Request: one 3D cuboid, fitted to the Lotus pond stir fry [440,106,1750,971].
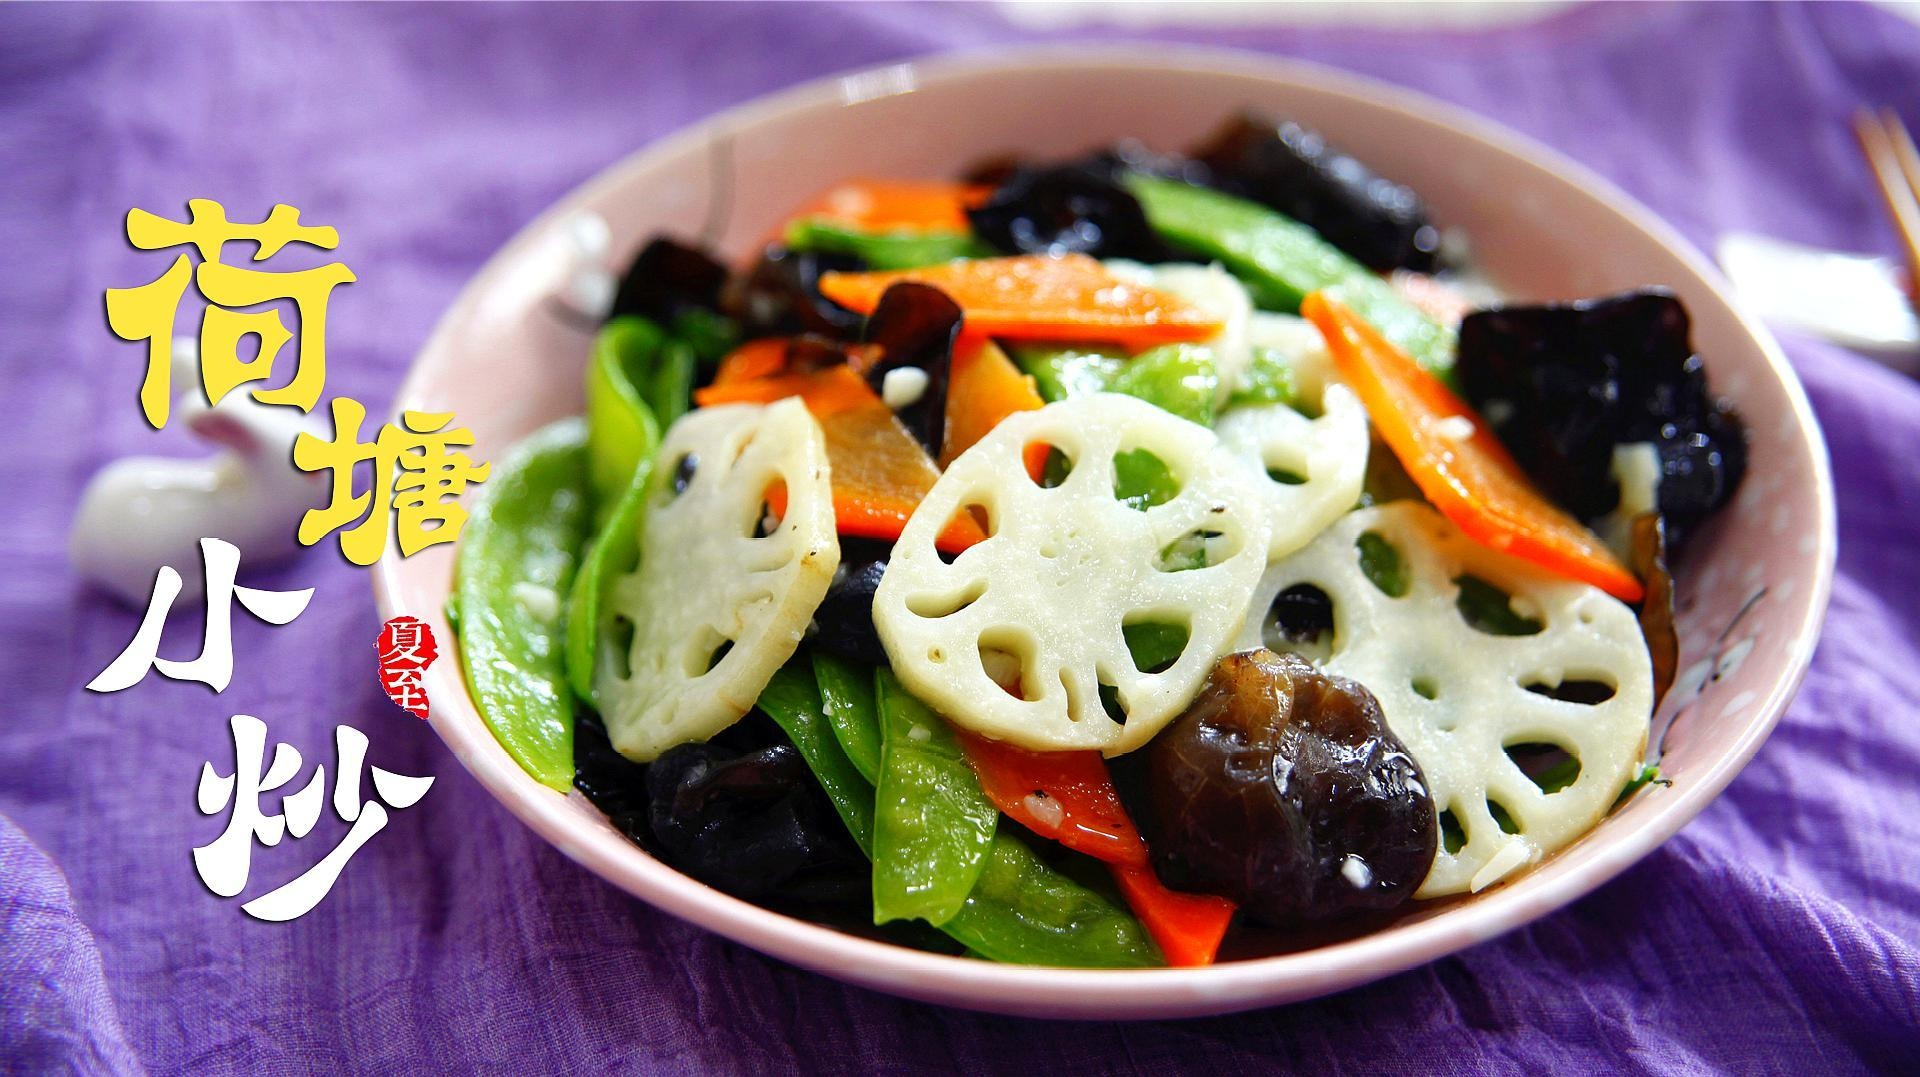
[{"bbox_3d":[0.317,0.149,3.173,1.760,0.650,1.637,-5,44,-9],"label":"Lotus pond stir fry"}]

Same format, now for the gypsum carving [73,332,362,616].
[{"bbox_3d":[-1.501,-0.144,3.622,0.619,0.621,0.414,-22,50,-34],"label":"gypsum carving"}]
